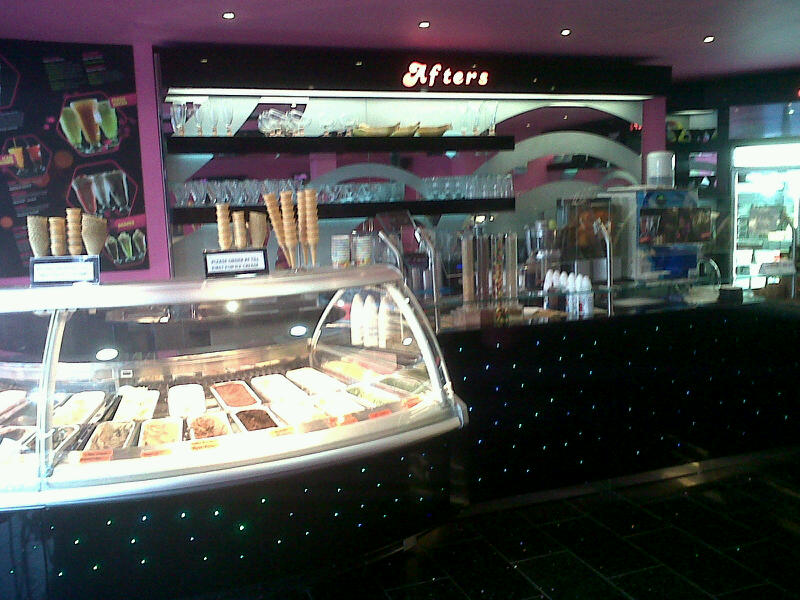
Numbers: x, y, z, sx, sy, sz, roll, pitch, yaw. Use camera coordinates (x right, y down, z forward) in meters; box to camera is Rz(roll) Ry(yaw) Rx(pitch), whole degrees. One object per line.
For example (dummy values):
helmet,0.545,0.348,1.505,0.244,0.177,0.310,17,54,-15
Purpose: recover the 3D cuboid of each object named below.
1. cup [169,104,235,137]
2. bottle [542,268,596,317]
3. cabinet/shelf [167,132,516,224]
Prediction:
cup,-1.620,-1.508,5.147,0.478,0.289,0.319,-1,9,-6
bottle,1.091,-0.066,3.952,0.279,0.324,0.273,2,7,32
cabinet/shelf,-0.492,-1.192,5.533,2.987,0.703,0.477,-6,15,-11
